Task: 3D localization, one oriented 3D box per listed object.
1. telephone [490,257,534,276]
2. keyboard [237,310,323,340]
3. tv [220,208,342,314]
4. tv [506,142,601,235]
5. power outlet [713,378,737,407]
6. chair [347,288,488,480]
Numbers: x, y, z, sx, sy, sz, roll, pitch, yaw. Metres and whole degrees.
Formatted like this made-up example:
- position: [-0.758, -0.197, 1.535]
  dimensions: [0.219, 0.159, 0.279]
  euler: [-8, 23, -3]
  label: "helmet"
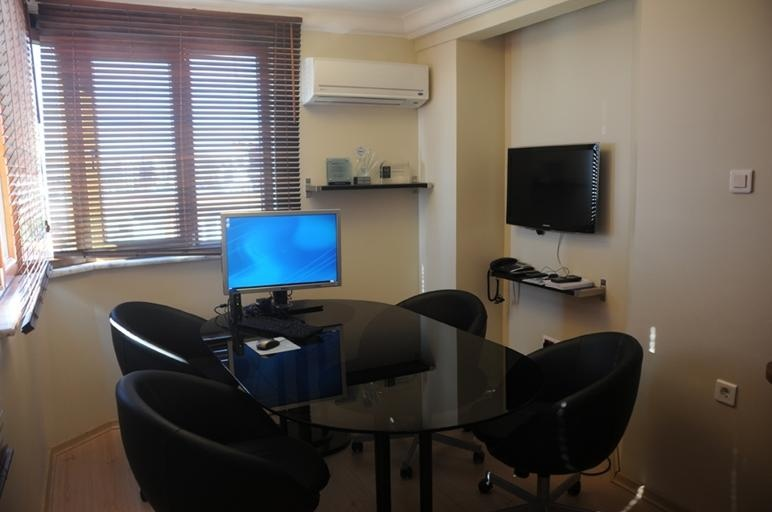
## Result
- position: [1.051, 0.090, 4.811]
  dimensions: [0.201, 0.085, 0.183]
  euler: [-9, 10, -35]
  label: "telephone"
- position: [-0.722, 0.400, 3.734]
  dimensions: [0.607, 0.247, 0.192]
  euler: [0, 7, 14]
  label: "keyboard"
- position: [-0.743, 0.021, 4.084]
  dimensions: [0.786, 0.689, 0.183]
  euler: [-2, 2, -14]
  label: "tv"
- position: [1.305, -0.526, 4.438]
  dimensions: [0.076, 0.608, 0.699]
  euler: [-5, 9, -40]
  label: "tv"
- position: [2.013, 0.803, 3.435]
  dimensions: [0.031, 0.129, 0.132]
  euler: [8, 11, -15]
  label: "power outlet"
- position: [0.250, 0.624, 4.434]
  dimensions: [0.885, 0.809, 0.796]
  euler: [10, -26, -17]
  label: "chair"
